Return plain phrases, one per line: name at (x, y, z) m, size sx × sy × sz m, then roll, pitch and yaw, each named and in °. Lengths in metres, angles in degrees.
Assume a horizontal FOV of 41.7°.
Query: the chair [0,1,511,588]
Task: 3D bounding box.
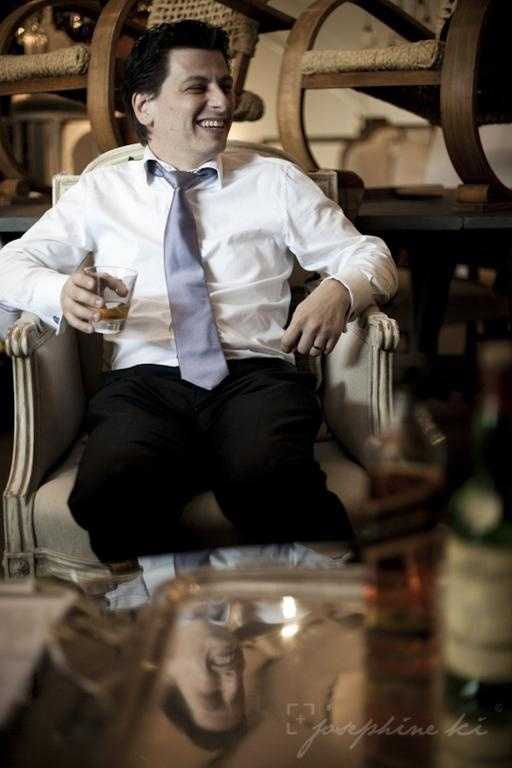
chair at (-0.073, -0.017, 1.305) m, size 0.652 × 0.753 × 0.618 m, roll -1°, pitch 10°, yaw -3°
